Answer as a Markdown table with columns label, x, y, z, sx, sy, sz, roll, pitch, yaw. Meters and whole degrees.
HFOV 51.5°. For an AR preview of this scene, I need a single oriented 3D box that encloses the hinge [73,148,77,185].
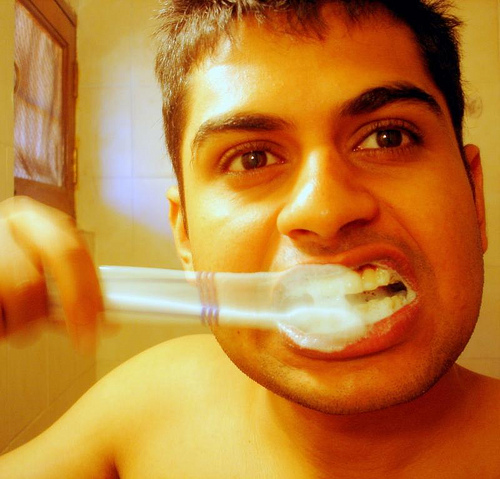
| label | x | y | z | sx | sy | sz | roll | pitch | yaw |
| --- | --- | --- | --- | --- | --- | --- | --- | --- | --- |
| hinge | -0.677 | -0.273 | 1.998 | 0.019 | 0.135 | 0.013 | -5 | 5 | -38 |
